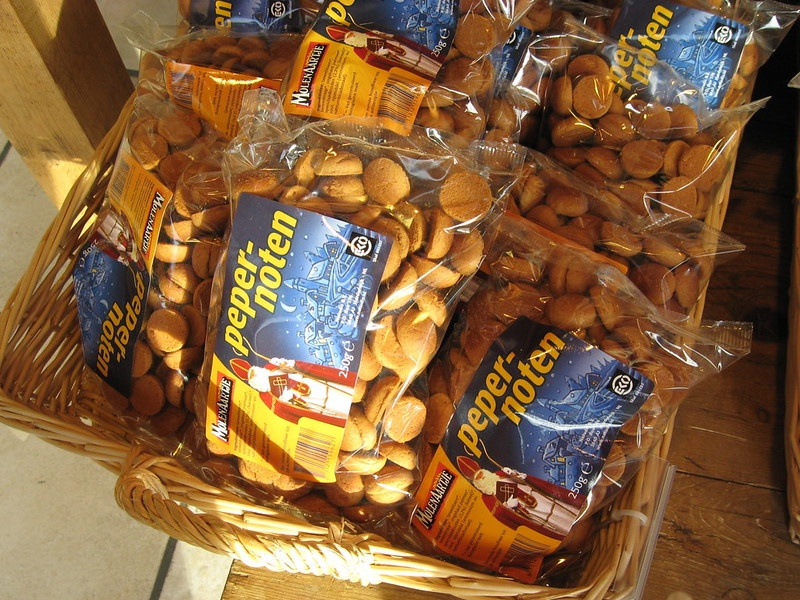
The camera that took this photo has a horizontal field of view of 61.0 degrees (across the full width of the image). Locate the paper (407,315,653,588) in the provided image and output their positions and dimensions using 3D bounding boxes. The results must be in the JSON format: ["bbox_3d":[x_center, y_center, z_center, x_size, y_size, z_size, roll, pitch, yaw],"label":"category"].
[{"bbox_3d":[0.165,0.199,0.905,0.204,0.244,0.254,29,52,15],"label":"paper"}]
